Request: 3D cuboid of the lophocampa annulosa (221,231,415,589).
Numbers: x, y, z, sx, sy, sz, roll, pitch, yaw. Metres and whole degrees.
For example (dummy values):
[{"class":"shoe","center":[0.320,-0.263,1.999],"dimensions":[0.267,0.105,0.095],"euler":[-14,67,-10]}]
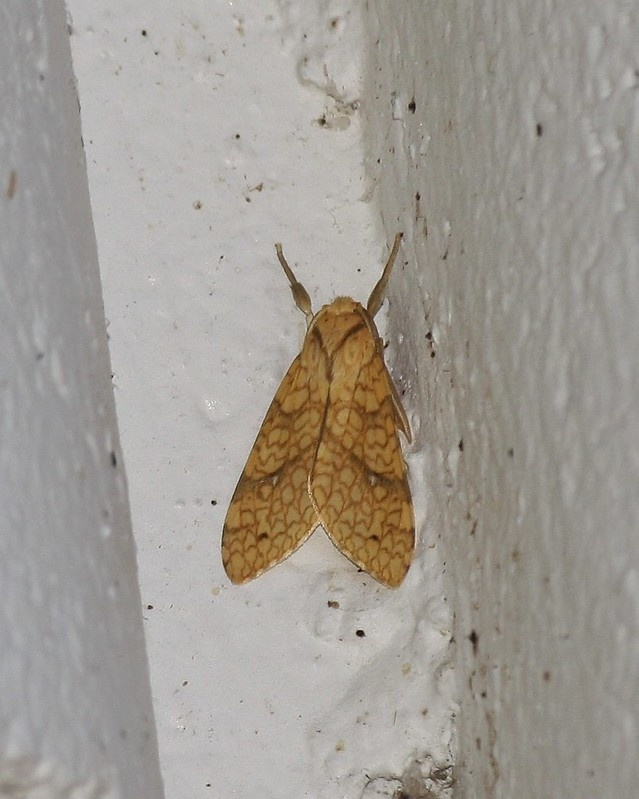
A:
[{"class":"lophocampa annulosa","center":[-0.004,0.065,2.314],"dimensions":[0.315,0.107,0.464],"euler":[1,84,2]}]
